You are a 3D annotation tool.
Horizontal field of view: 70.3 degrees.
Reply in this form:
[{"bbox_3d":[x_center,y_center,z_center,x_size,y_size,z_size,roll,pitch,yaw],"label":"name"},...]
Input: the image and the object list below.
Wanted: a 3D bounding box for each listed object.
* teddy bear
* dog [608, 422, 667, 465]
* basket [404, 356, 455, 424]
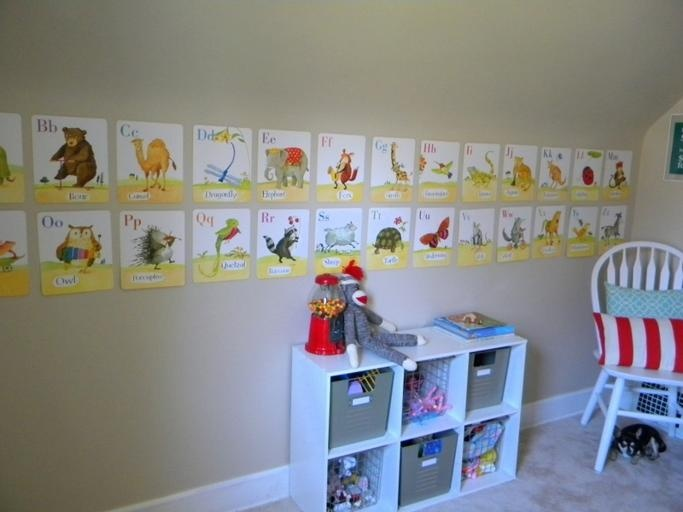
[{"bbox_3d":[0.179,0.250,2.338,0.403,0.486,0.425,4,20,29],"label":"teddy bear"},{"bbox_3d":[1.784,1.086,2.888,0.422,0.161,0.200,0,8,1],"label":"dog"},{"bbox_3d":[0.455,0.684,2.491,0.325,0.370,0.204,-4,-4,17],"label":"basket"}]
